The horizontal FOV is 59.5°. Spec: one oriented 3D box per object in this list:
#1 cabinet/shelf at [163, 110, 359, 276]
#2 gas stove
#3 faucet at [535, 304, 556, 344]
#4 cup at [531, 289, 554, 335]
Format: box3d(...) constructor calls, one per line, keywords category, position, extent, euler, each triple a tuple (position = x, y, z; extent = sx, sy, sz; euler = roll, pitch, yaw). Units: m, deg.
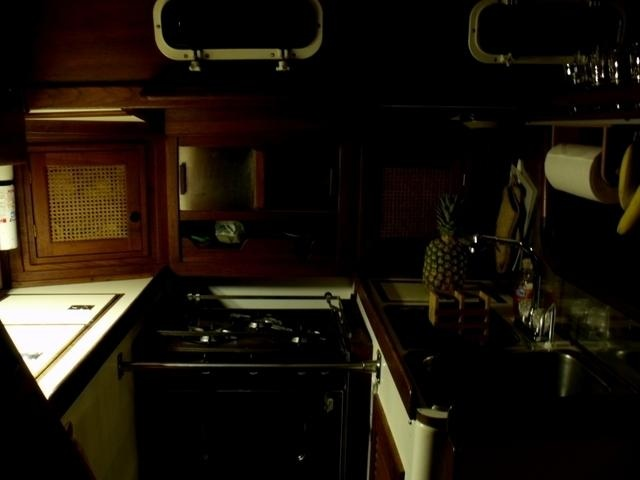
box3d(category="cabinet/shelf", position=(-0.269, -0.197, 2.568), extent=(0.823, 0.734, 0.293), euler=(1, 16, -3))
box3d(category="gas stove", position=(-0.243, 0.383, 2.212), extent=(0.494, 0.113, 0.294), euler=(0, 13, -5))
box3d(category="faucet", position=(0.784, 0.272, 1.921), extent=(0.054, 0.125, 0.106), euler=(7, 16, 23))
box3d(category="cup", position=(0.777, 0.271, 1.910), extent=(0.057, 0.159, 0.030), euler=(11, 45, 31))
